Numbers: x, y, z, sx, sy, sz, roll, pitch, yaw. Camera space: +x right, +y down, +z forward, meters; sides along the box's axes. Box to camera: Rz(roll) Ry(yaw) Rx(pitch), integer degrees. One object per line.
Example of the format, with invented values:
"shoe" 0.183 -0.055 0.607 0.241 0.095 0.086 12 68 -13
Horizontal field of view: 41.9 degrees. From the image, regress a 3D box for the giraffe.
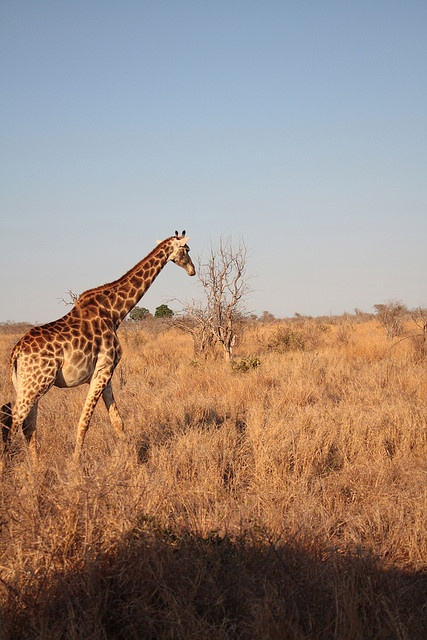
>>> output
"giraffe" -1.200 0.215 5.427 0.549 1.671 1.952 -2 3 30
